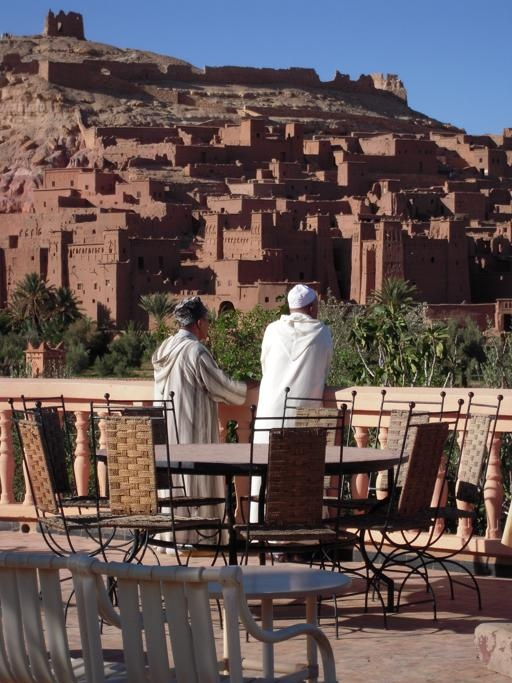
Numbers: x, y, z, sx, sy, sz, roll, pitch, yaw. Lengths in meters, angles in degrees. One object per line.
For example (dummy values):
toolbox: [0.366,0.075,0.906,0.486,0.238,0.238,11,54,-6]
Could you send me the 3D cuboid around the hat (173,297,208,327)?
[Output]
hat: [-0.262,-0.114,6.908,0.089,0.144,0.130,0,16,14]
